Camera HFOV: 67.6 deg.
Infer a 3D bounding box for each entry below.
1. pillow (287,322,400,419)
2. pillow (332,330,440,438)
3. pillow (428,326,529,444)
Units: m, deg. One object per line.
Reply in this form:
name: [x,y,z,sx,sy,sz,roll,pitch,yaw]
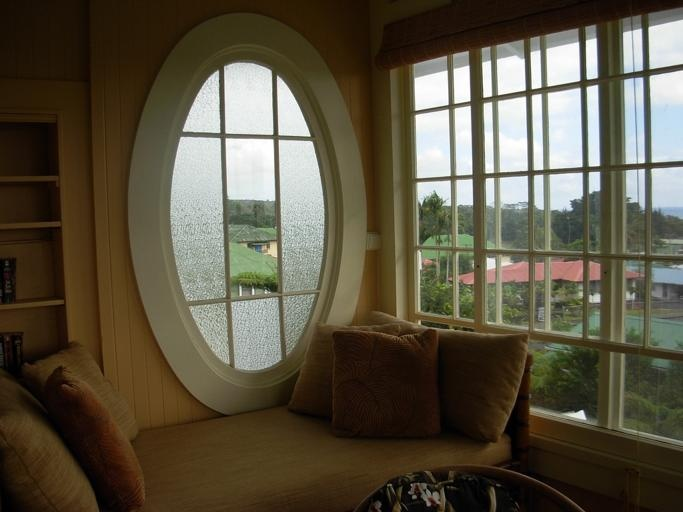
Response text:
pillow: [-0.017,0.782,3.259,0.556,0.593,0.233,-9,-32,39]
pillow: [0.246,0.716,2.777,0.483,0.505,0.179,0,-10,4]
pillow: [0.759,0.738,2.815,0.533,0.498,0.286,-1,17,36]
